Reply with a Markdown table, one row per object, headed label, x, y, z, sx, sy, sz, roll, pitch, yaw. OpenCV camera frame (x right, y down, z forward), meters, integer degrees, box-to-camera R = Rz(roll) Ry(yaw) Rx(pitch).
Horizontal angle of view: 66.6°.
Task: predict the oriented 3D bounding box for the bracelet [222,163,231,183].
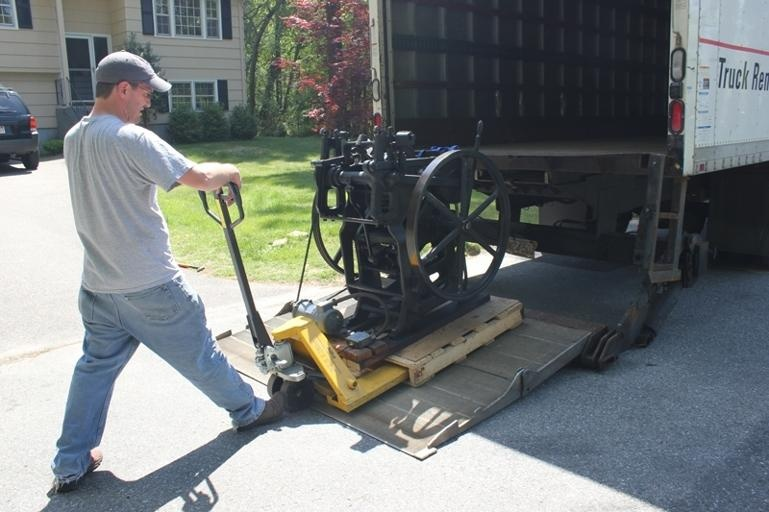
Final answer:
| label | x | y | z | sx | sy | sz | roll | pitch | yaw |
| --- | --- | --- | --- | --- | --- | --- | --- | --- | --- |
| bracelet | -1.133 | -0.610 | 4.231 | 0.031 | 0.112 | 0.103 | 1 | 36 | 9 |

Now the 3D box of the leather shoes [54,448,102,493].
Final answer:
| label | x | y | z | sx | sy | sz | roll | pitch | yaw |
| --- | --- | --- | --- | --- | --- | --- | --- | --- | --- |
| leather shoes | -2.223 | 1.606 | 4.303 | 0.134 | 0.231 | 0.372 | 33 | 48 | 11 |

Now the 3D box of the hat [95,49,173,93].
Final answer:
| label | x | y | z | sx | sy | sz | roll | pitch | yaw |
| --- | --- | --- | --- | --- | --- | --- | --- | --- | --- |
| hat | -1.766 | -1.313 | 4.168 | 0.489 | 0.261 | 0.303 | -10 | 20 | -23 |

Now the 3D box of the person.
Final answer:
| label | x | y | z | sx | sy | sz | roll | pitch | yaw |
| --- | --- | --- | --- | --- | --- | --- | --- | --- | --- |
| person | -1.792 | 0.105 | 4.242 | 1.509 | 2.988 | 0.570 | -7 | 17 | -18 |
